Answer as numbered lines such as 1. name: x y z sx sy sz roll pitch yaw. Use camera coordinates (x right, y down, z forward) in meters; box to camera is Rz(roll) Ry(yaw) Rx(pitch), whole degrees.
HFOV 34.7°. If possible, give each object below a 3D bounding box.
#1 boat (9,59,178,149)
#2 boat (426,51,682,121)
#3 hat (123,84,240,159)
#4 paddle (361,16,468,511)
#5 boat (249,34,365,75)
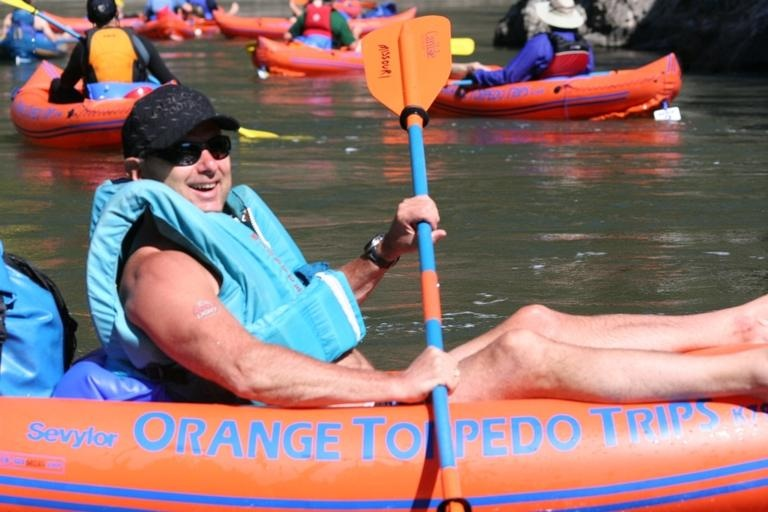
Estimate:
1. boat: -2.870 -1.306 11.777 1.701 0.585 1.289 6 13 44
2. boat: 1.873 -1.639 12.767 2.039 0.456 0.914 -4 5 17
3. hat: -1.066 -0.683 6.102 0.500 0.236 0.366 -22 4 41
4. paddle: 0.245 -0.210 6.401 0.497 0.177 2.814 -11 52 4
5. boat: -1.071 -2.659 16.687 1.800 0.470 0.837 -2 14 -14
